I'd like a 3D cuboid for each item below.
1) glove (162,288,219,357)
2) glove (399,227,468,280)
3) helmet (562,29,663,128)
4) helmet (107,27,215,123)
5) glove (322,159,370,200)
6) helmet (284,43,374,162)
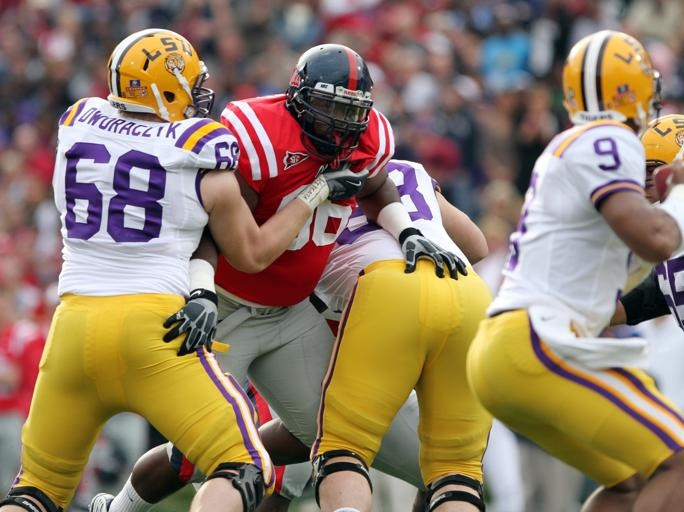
[{"bbox_3d":[-0.636,0.272,3.580,0.075,0.257,0.182,-21,-44,39],"label":"glove"},{"bbox_3d":[0.421,-0.010,3.982,0.287,0.099,0.195,44,32,-3],"label":"glove"},{"bbox_3d":[1.193,-0.772,3.738,0.334,0.383,0.428,5,20,44],"label":"helmet"},{"bbox_3d":[-0.854,-0.838,3.889,0.452,0.390,0.348,-8,16,-22],"label":"helmet"},{"bbox_3d":[0.021,-0.367,4.036,0.197,0.164,0.130,-9,32,-34],"label":"glove"},{"bbox_3d":[-0.125,-0.755,4.008,0.365,0.508,0.524,3,26,-19],"label":"helmet"}]
